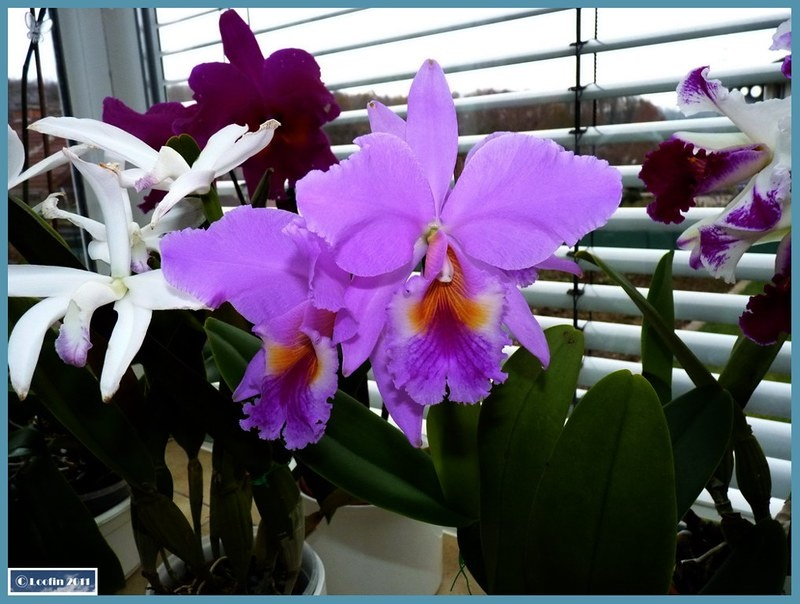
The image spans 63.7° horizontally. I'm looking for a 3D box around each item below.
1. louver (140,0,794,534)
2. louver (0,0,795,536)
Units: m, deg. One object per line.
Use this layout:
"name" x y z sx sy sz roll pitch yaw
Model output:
"louver" 0.018 -0.052 0.779 0.793 0.474 0.393 -4 40 11
"louver" -0.050 -0.007 0.561 0.578 0.309 0.335 1 -12 3
